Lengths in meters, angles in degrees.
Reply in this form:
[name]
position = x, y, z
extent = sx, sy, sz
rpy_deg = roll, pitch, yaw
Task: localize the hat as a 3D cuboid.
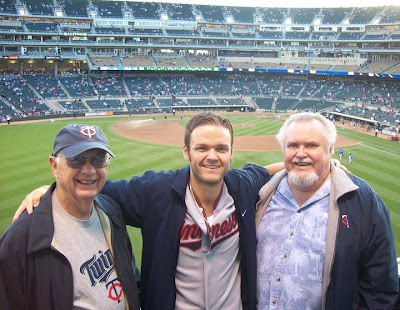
[hat]
position = -1.492, -0.177, 3.739
extent = 0.509, 0.327, 0.671
rpy_deg = 4, -5, -40
